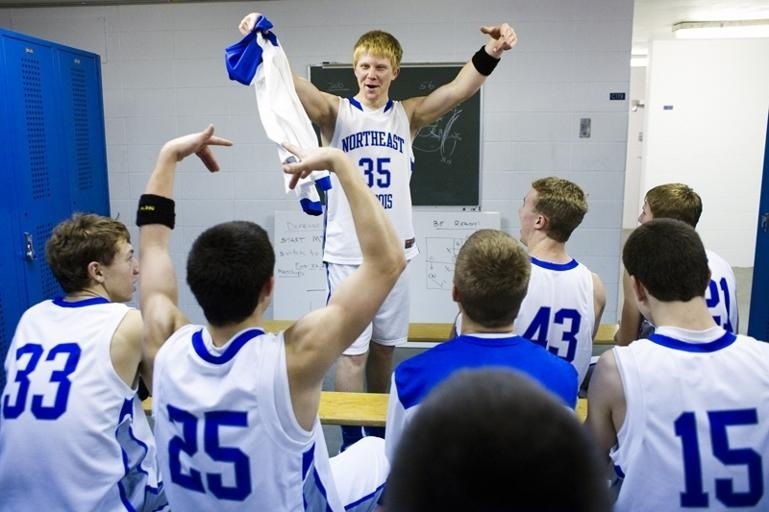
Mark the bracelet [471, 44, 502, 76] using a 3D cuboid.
[{"bbox_3d":[0.608,-1.169,4.347,0.130,0.168,0.174,-42,-8,38],"label":"bracelet"}]

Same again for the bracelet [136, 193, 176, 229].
[{"bbox_3d":[-1.097,-0.211,3.483,0.192,0.142,0.197,0,-4,27],"label":"bracelet"}]

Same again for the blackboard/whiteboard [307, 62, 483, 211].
[{"bbox_3d":[0.074,-0.877,4.931,1.605,1.243,0.110,1,7,0],"label":"blackboard/whiteboard"}]
